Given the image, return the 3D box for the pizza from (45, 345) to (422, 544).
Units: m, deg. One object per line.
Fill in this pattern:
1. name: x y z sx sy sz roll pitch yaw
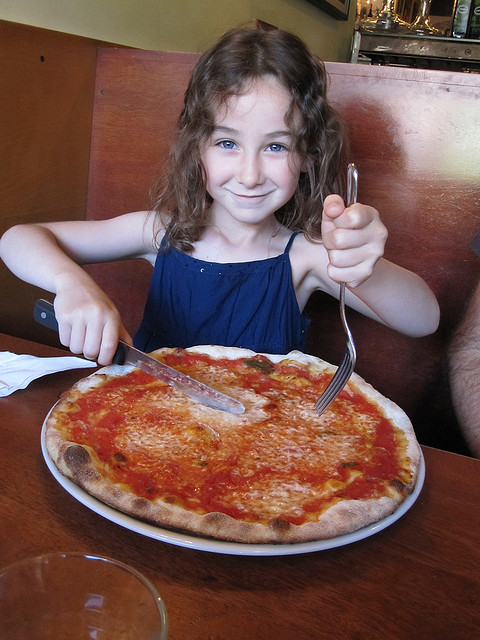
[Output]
1. pizza: 0.001 0.143 0.699 0.263 0.026 0.255 10 15 20

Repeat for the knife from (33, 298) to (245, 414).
1. knife: -0.147 0.051 0.786 0.041 0.031 0.355 5 -23 42

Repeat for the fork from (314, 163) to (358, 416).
1. fork: 0.130 -0.015 0.731 0.049 0.350 0.042 -2 21 -11
